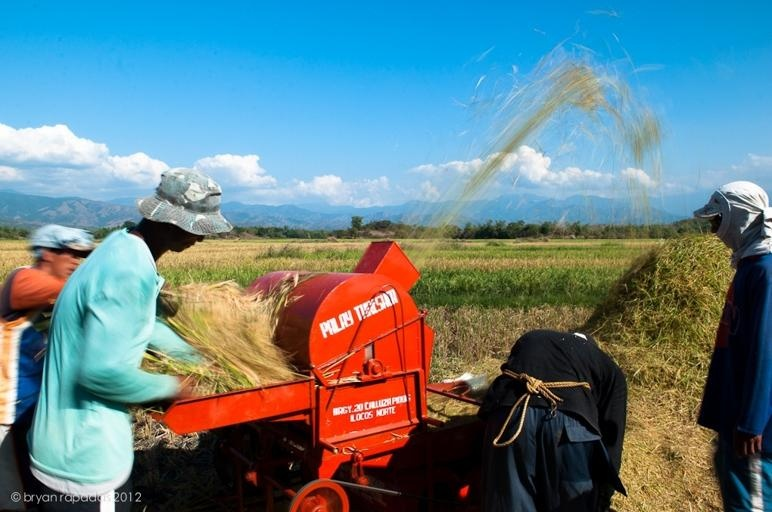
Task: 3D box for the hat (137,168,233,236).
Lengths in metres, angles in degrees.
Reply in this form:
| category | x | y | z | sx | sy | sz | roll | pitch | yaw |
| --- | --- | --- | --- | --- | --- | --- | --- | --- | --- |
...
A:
| category | x | y | z | sx | sy | sz | roll | pitch | yaw |
| --- | --- | --- | --- | --- | --- | --- | --- | --- | --- |
| hat | -1.273 | -0.300 | 3.232 | 0.456 | 0.248 | 0.439 | 8 | 16 | -44 |

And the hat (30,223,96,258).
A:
| category | x | y | z | sx | sy | sz | roll | pitch | yaw |
| --- | --- | --- | --- | --- | --- | --- | --- | --- | --- |
| hat | -2.592 | -0.123 | 4.131 | 0.280 | 0.147 | 0.401 | 1 | -2 | 5 |
